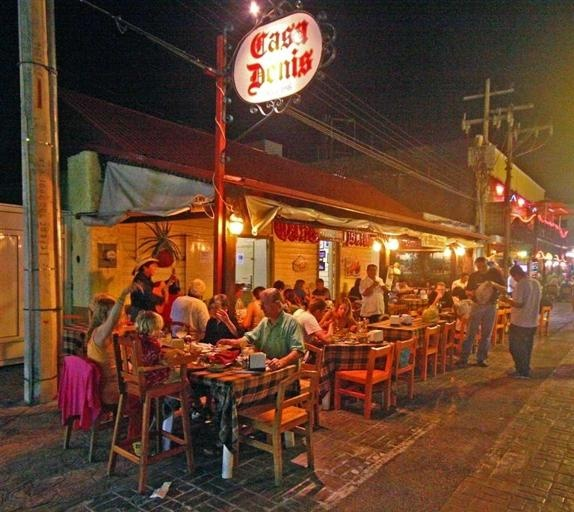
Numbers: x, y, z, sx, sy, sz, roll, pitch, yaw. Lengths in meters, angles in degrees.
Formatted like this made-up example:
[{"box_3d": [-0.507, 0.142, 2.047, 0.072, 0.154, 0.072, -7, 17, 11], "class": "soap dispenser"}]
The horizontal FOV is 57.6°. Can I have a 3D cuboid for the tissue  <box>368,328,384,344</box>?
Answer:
[{"box_3d": [1.373, 1.239, 8.151, 0.217, 0.172, 0.308, 3, 12, 9], "class": "tissue "}]

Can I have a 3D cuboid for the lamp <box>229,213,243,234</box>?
[{"box_3d": [-0.809, -0.526, 8.627, 0.144, 0.365, 0.323, 5, 7, 37], "class": "lamp"}]

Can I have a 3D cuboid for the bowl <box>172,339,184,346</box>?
[{"box_3d": [-1.379, 1.096, 6.679, 0.098, 0.075, 0.097, 1, 6, 0], "class": "bowl"}]

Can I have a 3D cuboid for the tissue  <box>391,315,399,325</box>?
[{"box_3d": [1.946, 1.162, 9.516, 0.143, 0.139, 0.150, -1, 0, 6], "class": "tissue "}]

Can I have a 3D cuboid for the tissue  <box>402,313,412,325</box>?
[{"box_3d": [2.176, 1.171, 9.714, 0.172, 0.223, 0.223, -6, 8, -39], "class": "tissue "}]

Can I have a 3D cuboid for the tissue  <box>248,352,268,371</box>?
[{"box_3d": [-0.327, 1.239, 6.226, 0.226, 0.216, 0.182, 1, 6, 13], "class": "tissue "}]
